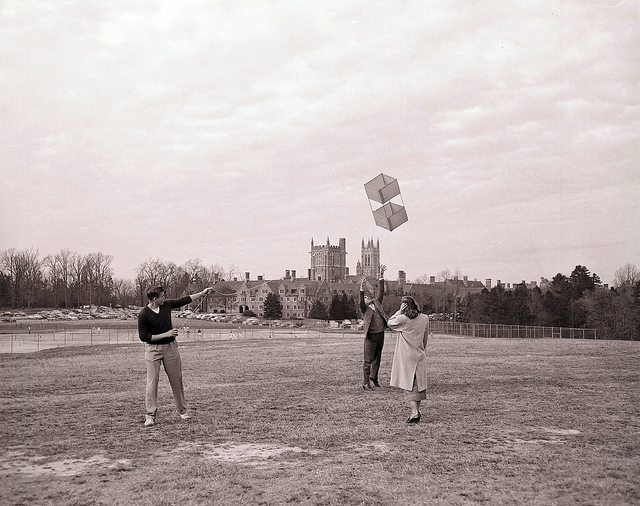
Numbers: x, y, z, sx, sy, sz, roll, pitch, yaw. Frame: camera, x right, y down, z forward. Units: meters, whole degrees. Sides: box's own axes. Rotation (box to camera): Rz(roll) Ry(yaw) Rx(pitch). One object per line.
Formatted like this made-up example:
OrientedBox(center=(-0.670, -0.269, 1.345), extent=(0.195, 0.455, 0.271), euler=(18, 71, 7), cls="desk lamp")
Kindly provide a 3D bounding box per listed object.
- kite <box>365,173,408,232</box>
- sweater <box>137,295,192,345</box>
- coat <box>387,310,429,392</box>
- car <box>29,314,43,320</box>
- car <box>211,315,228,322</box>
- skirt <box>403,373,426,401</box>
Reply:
OrientedBox(center=(1.757, -1.325, 17.563), extent=(0.987, 1.390, 1.369), euler=(-2, -3, 10), cls="kite")
OrientedBox(center=(-3.084, 1.312, 12.742), extent=(0.948, 0.908, 0.641), euler=(0, -3, -25), cls="sweater")
OrientedBox(center=(1.718, 1.900, 12.711), extent=(0.745, 1.503, 0.665), euler=(-2, -2, 8), cls="coat")
OrientedBox(center=(-46.174, 10.281, 105.793), extent=(2.021, 0.665, 1.184), euler=(-2, -5, 31), cls="car")
OrientedBox(center=(-16.300, 10.681, 108.045), extent=(2.065, 0.747, 1.265), euler=(10, -13, -40), cls="car")
OrientedBox(center=(1.751, 2.546, 12.589), extent=(0.514, 0.753, 0.400), euler=(0, -7, -2), cls="skirt")
